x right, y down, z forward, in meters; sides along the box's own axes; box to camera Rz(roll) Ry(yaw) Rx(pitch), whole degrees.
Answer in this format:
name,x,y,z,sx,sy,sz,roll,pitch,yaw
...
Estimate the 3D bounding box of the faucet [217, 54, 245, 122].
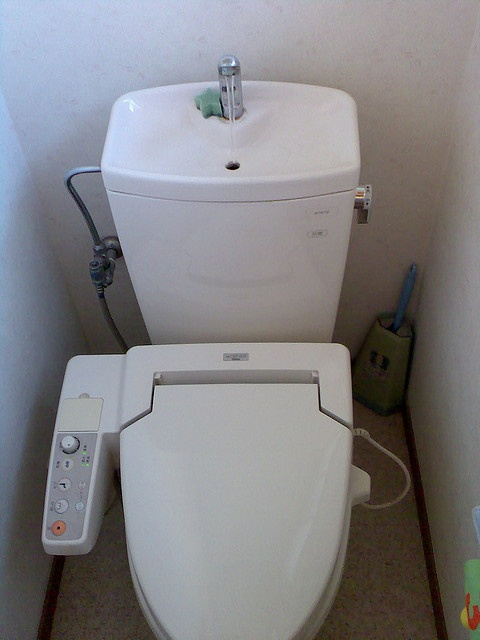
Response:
name,x,y,z,sx,sy,sz,roll,pitch,yaw
faucet,-0.011,-0.341,0.728,0.042,0.102,0.055,-13,47,-8
